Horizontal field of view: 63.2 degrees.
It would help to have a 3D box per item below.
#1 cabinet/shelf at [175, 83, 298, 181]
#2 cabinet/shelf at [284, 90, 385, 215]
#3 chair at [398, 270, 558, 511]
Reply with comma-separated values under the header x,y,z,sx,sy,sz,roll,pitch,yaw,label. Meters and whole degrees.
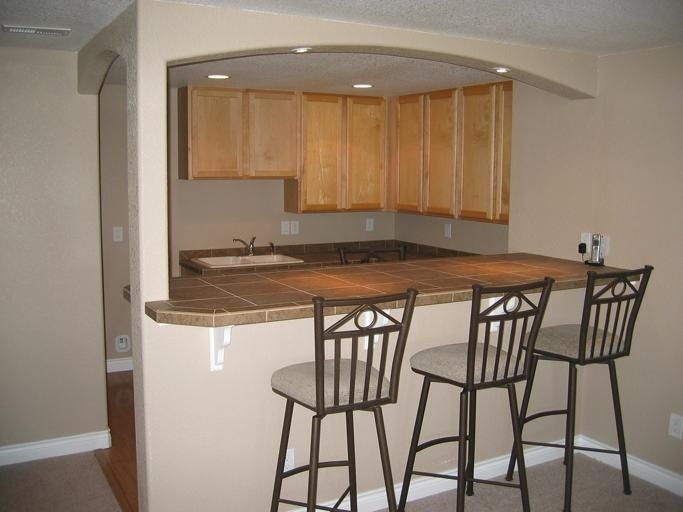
x,y,z,sx,sy,sz,roll,pitch,yaw,label
-0.987,-1.168,5.339,1.158,0.816,0.396,-6,16,-32,cabinet/shelf
-0.098,-1.078,5.500,1.149,1.300,0.501,-2,7,-24,cabinet/shelf
0.789,0.795,3.118,0.703,1.490,0.952,10,16,40,chair
